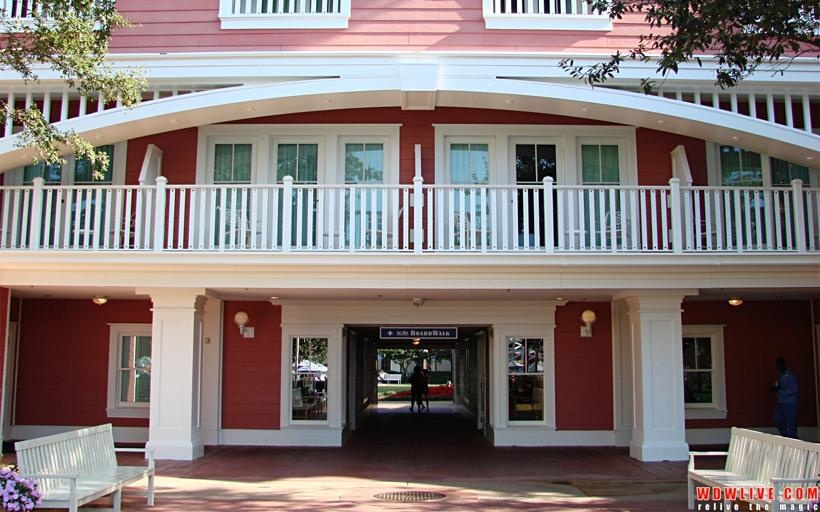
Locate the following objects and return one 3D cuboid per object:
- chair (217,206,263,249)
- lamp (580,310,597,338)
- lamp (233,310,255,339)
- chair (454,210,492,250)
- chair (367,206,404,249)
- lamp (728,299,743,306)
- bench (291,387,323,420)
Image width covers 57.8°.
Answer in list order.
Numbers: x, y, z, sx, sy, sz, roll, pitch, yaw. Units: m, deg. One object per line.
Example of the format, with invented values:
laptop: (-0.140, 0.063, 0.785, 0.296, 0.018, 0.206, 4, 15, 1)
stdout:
chair: (-3.786, -0.641, 16.392, 1.004, 1.033, 2.198, 1, -3, -13)
lamp: (4.312, 1.619, 17.918, 0.370, 0.679, 0.299, -1, -4, 11)
lamp: (-3.975, 1.663, 17.869, 0.466, 0.662, 0.385, 0, -4, -7)
chair: (1.330, -0.566, 16.051, 1.093, 0.758, 0.931, 0, 0, 5)
chair: (-0.555, -0.606, 16.391, 0.814, 1.040, 2.011, 0, -3, -2)
lamp: (7.771, 1.099, 17.654, 0.318, 0.093, 0.305, 3, -3, -38)
bench: (-2.568, 3.599, 18.046, 0.930, 0.883, 0.799, -1, -4, 5)
